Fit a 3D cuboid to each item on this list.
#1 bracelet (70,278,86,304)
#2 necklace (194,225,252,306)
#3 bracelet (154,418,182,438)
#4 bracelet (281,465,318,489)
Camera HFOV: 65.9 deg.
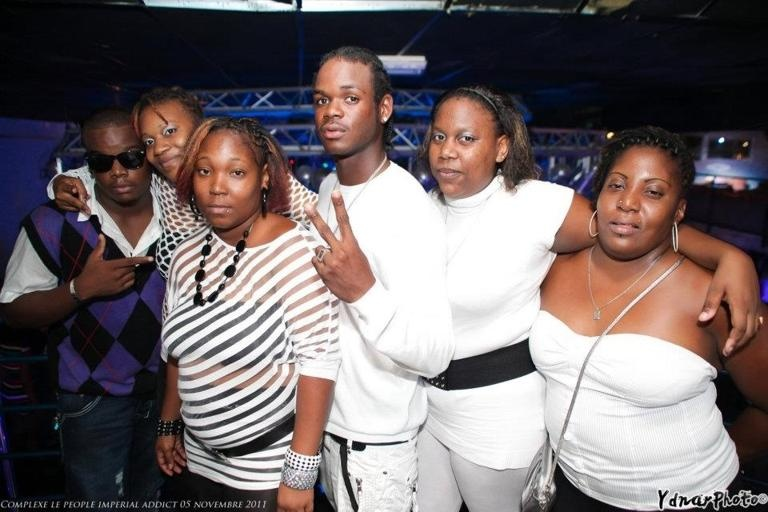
[{"bbox_3d":[-2.062,0.239,3.964,0.042,0.124,0.127,-10,25,-17],"label":"bracelet"},{"bbox_3d":[-1.009,0.069,3.645,0.321,0.488,0.060,7,-17,31],"label":"necklace"},{"bbox_3d":[-1.395,1.125,3.878,0.111,0.089,0.136,1,-12,-13],"label":"bracelet"},{"bbox_3d":[-0.500,1.321,3.507,0.160,0.093,0.155,10,-3,-2],"label":"bracelet"}]
